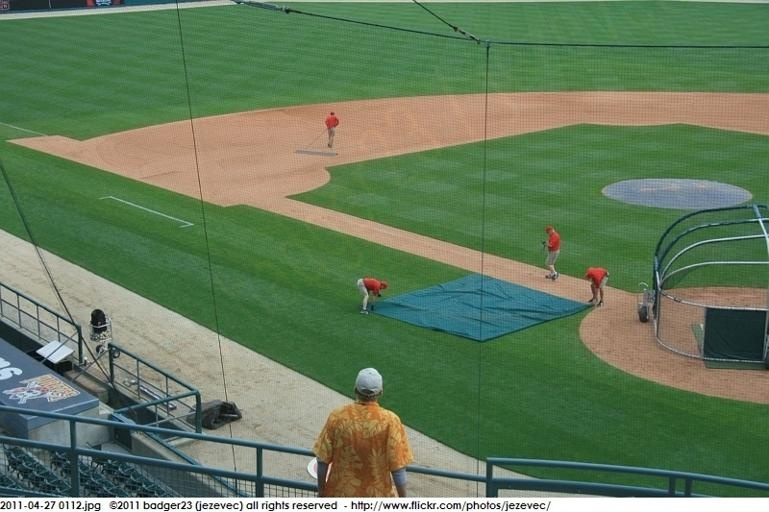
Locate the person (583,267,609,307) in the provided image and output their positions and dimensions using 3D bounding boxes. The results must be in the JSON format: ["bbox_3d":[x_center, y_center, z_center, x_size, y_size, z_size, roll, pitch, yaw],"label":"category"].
[{"bbox_3d":[7.142,0.953,42.669,0.694,1.276,1.357,2,10,8],"label":"person"}]

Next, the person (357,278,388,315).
[{"bbox_3d":[-0.416,1.242,42.514,0.902,1.149,1.273,1,10,0],"label":"person"}]
